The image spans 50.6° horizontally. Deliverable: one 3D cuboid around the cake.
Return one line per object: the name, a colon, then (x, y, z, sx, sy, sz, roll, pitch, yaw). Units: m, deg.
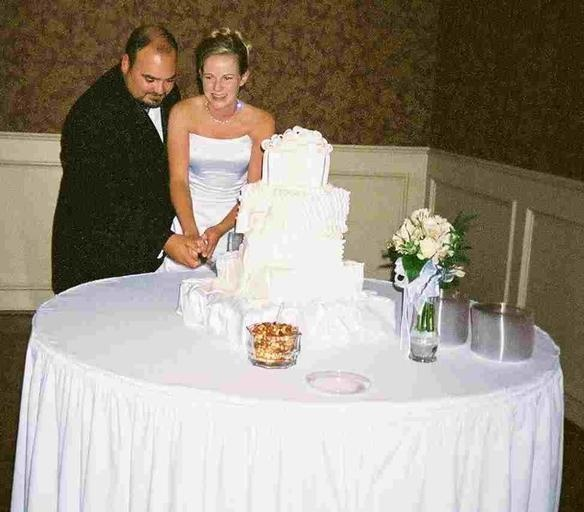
cake: (-0.065, -0.053, 2.437, 0.635, 0.915, 0.534, 2, 6, 5)
